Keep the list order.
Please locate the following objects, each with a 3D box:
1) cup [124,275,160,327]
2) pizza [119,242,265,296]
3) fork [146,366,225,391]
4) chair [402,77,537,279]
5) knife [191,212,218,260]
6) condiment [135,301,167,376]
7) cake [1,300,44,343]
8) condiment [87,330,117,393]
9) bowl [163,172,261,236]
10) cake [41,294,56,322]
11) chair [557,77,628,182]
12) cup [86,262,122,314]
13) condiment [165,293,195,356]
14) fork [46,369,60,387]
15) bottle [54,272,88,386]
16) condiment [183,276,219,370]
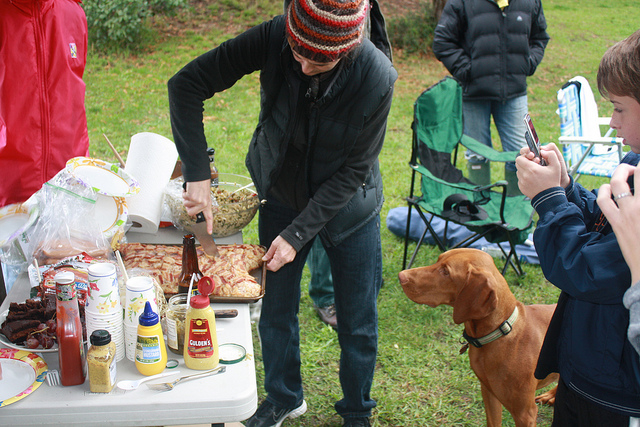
[{"bbox_3d":[-0.884,0.428,3.098,0.209,0.239,0.177,-7,21,-30],"label":"cup"},{"bbox_3d":[-0.745,0.316,3.509,0.642,0.073,0.375,1,42,-5],"label":"pizza"},{"bbox_3d":[-0.658,0.816,2.982,0.338,0.039,0.046,-11,30,-30],"label":"fork"},{"bbox_3d":[1.521,-0.278,5.993,1.733,2.208,1.071,0,-2,29],"label":"chair"},{"bbox_3d":[-0.655,0.141,3.535,0.097,0.386,0.030,-29,-27,6],"label":"knife"},{"bbox_3d":[-0.829,0.636,3.042,0.126,0.374,0.143,-1,13,-6],"label":"condiment"},{"bbox_3d":[-1.498,0.547,3.076,0.216,0.190,0.129,-3,10,-13],"label":"cake"},{"bbox_3d":[-1.031,0.703,2.925,0.154,0.305,0.121,-9,12,-39],"label":"condiment"},{"bbox_3d":[-0.684,-0.015,3.931,0.518,0.239,0.547,-4,16,1],"label":"bowl"},{"bbox_3d":[-1.372,0.479,3.085,0.107,0.115,0.037,-9,-22,27],"label":"cake"},{"bbox_3d":[2.721,-0.868,6.189,0.584,1.079,1.136,3,10,23],"label":"chair"},{"bbox_3d":[-1.068,0.375,3.007,0.127,0.239,0.146,7,12,40],"label":"cup"},{"bbox_3d":[-0.684,0.600,3.161,0.164,0.291,0.171,-5,3,-9],"label":"condiment"},{"bbox_3d":[-1.296,0.799,2.956,0.049,0.075,0.024,-2,-32,-15],"label":"fork"},{"bbox_3d":[-1.207,0.554,2.943,0.121,0.555,0.156,-5,10,-24],"label":"bottle"},{"bbox_3d":[-0.593,0.554,3.048,0.173,0.450,0.152,-1,13,-11],"label":"condiment"}]
